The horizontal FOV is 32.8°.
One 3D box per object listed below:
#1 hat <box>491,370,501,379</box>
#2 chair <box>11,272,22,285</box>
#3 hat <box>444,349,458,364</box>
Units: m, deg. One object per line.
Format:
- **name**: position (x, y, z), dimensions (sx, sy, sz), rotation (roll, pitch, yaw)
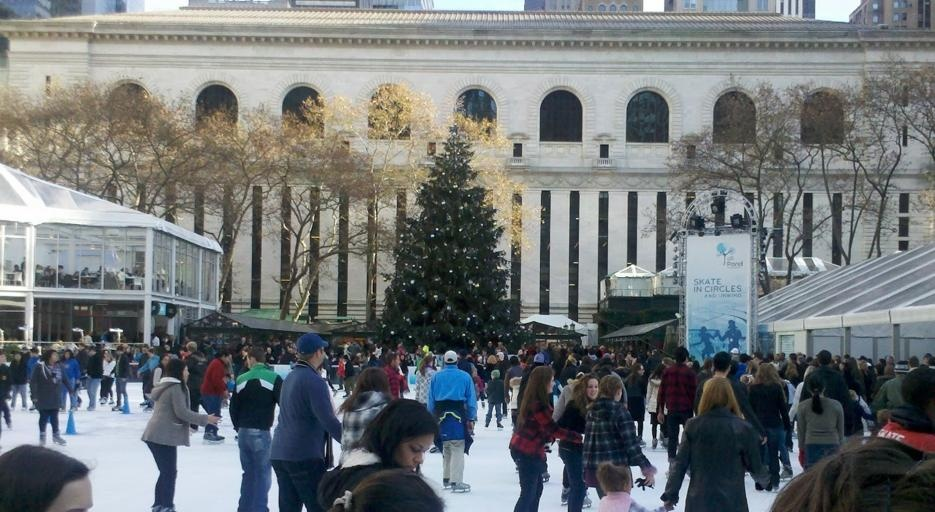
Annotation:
- **hat**: position (1.877, 7.921, 106.096), dimensions (0.585, 0.562, 0.582), rotation (13, 34, -12)
- **chair**: position (-34.001, 1.781, 119.958), dimensions (0.995, 0.837, 0.936), rotation (-2, -2, 14)
- **hat**: position (-1.023, 6.323, 97.702), dimensions (0.715, 0.902, 1.276), rotation (1, -6, -6)
